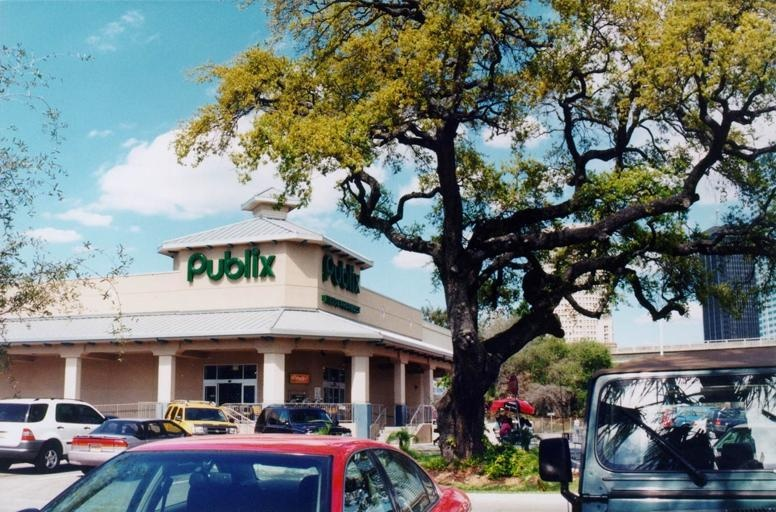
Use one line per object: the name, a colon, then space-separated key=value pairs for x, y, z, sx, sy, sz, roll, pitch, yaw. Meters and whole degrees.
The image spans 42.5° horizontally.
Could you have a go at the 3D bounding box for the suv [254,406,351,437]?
suv: x=-3.443 y=6.416 z=38.987 sx=3.341 sy=1.647 sz=2.047 roll=-16 pitch=-21 yaw=37

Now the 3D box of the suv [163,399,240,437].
suv: x=-7.566 y=6.291 z=39.913 sx=1.964 sy=1.707 sz=3.441 roll=11 pitch=-23 yaw=-32
